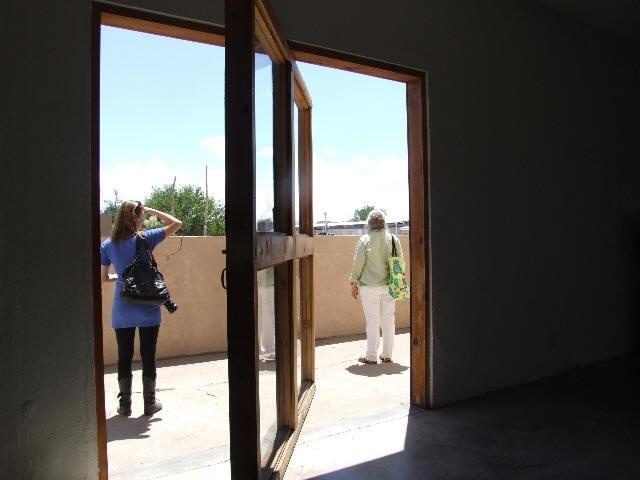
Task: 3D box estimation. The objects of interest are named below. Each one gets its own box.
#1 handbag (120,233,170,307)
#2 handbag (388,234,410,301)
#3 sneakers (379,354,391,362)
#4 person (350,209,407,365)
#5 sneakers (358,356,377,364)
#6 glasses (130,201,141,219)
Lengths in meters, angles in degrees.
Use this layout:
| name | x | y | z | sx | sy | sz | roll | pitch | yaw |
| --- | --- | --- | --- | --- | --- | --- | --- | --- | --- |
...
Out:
| name | x | y | z | sx | sy | sz | roll | pitch | yaw |
| --- | --- | --- | --- | --- | --- | --- | --- | --- | --- |
| handbag | -1.283 | 0.172 | 3.776 | 0.320 | 0.584 | 0.155 | -2 | 27 | -19 |
| handbag | 0.791 | 0.277 | 5.117 | 0.192 | 0.641 | 0.275 | 0 | 4 | 9 |
| sneakers | 0.671 | 1.210 | 5.254 | 0.049 | 0.066 | 0.144 | 1 | 3 | -7 |
| person | 0.591 | 0.482 | 5.268 | 0.563 | 1.575 | 0.448 | -1 | 3 | 4 |
| sneakers | 0.477 | 1.201 | 5.162 | 0.172 | 0.081 | 0.066 | 4 | -3 | 22 |
| glasses | -1.440 | -0.238 | 4.003 | 0.069 | 0.106 | 0.106 | 3 | 40 | -16 |
